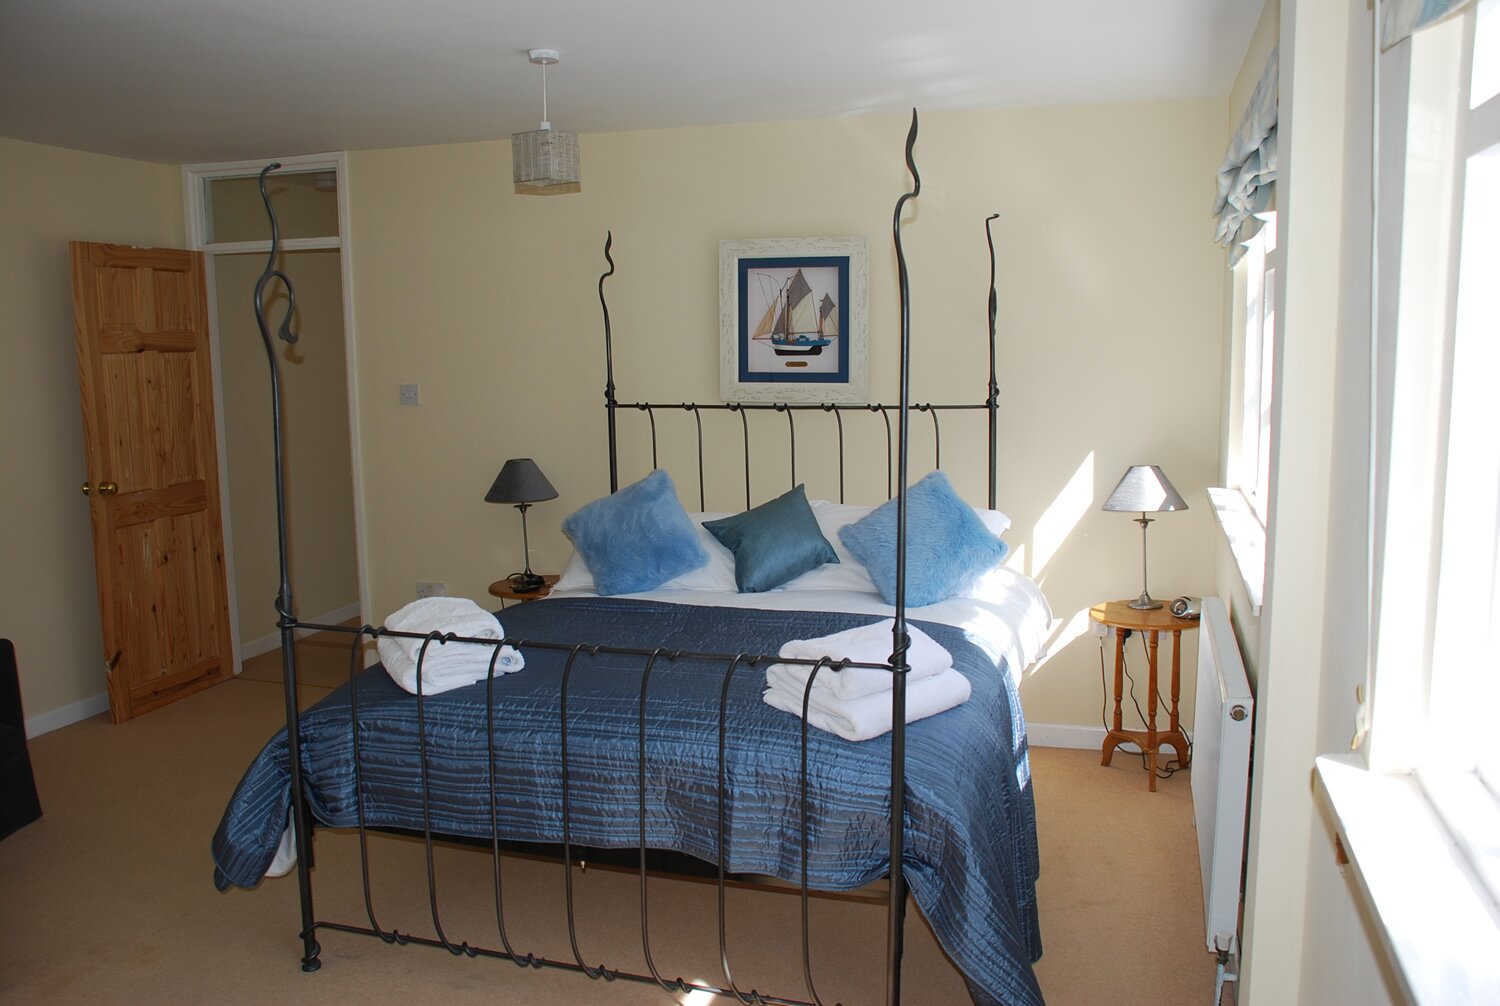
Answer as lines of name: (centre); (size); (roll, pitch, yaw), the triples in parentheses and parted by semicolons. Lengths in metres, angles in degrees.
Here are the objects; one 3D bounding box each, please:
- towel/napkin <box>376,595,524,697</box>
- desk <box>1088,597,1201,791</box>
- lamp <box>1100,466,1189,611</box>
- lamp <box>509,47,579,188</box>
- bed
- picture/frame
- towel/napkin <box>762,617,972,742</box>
towel/napkin: (-1.015, 0.480, 4.018); (0.348, 0.138, 0.373); (-8, 20, -30)
desk: (1.716, 0.830, 5.312); (0.468, 0.705, 0.484); (2, -11, 24)
lamp: (1.717, 0.145, 5.190); (0.359, 0.621, 0.409); (3, 11, 18)
lamp: (-0.838, -1.511, 4.848); (0.241, 0.515, 0.620); (-3, 10, -10)
bed: (-0.087, 0.781, 4.589); (2.019, 1.847, 2.084); (-1, 2, 15)
picture/frame: (0.217, -0.883, 5.581); (0.761, 0.846, 0.046); (1, 9, 5)
towel/napkin: (0.293, 0.470, 3.740); (0.439, 0.176, 0.400); (-6, 7, -43)
